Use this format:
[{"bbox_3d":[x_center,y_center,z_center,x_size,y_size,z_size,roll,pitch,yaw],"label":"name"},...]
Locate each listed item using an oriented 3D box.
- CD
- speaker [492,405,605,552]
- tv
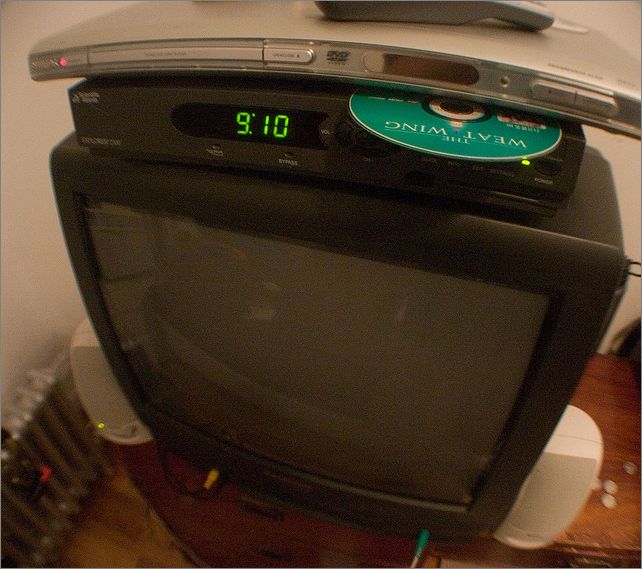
[{"bbox_3d":[0.151,-0.183,0.634,0.247,0.028,0.103,10,42,9],"label":"CD"},{"bbox_3d":[0.388,0.313,0.907,0.174,0.061,0.248,27,83,34],"label":"speaker"},{"bbox_3d":[0.032,0.035,0.981,0.739,0.641,0.443,12,38,12],"label":"tv"}]
